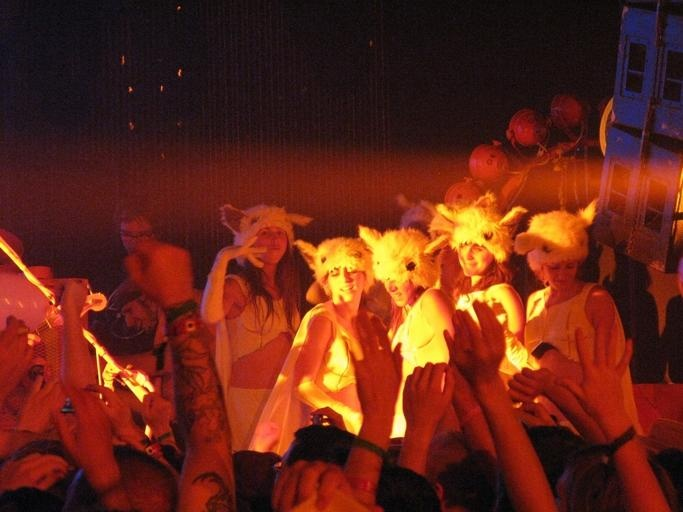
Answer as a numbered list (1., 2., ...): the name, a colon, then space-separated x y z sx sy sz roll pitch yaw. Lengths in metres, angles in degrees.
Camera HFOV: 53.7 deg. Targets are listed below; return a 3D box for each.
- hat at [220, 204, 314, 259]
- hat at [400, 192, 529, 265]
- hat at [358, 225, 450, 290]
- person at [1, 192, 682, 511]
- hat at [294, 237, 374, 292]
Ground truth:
1. hat: -0.535 -0.230 4.367 0.481 0.248 0.285 8 1 -15
2. hat: 0.886 -0.198 4.661 0.499 0.356 0.555 13 14 -2
3. hat: 0.411 -0.034 4.270 0.393 0.283 0.424 -1 7 19
4. person: -0.029 0.409 2.063 1.880 0.842 0.601 -8 -28 5
5. hat: -0.041 -0.044 4.129 0.300 0.285 0.400 -22 34 -14
